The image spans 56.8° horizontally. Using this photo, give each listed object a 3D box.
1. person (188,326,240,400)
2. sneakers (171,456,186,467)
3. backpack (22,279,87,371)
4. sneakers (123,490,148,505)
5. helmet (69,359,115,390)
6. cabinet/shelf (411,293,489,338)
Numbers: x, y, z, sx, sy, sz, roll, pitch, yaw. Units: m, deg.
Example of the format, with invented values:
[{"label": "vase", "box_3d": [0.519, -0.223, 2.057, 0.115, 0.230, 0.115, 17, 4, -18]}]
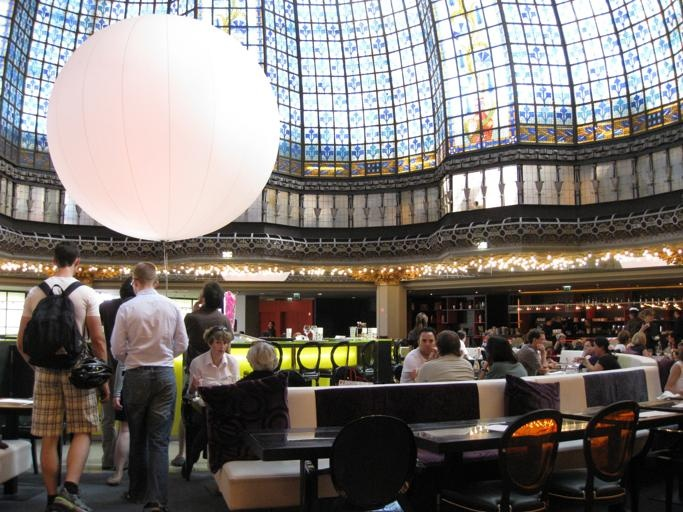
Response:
[{"label": "person", "box_3d": [-1.562, 1.403, 7.764, 0.622, 1.048, 0.599, 3, -7, -19]}, {"label": "sneakers", "box_3d": [-2.143, 2.670, 8.287, 0.158, 0.083, 0.208, 1, 0, -11]}, {"label": "backpack", "box_3d": [-2.851, 0.639, 6.309, 0.504, 0.792, 0.490, -2, -13, 1]}, {"label": "sneakers", "box_3d": [-2.224, 2.571, 6.810, 0.103, 0.109, 0.255, 11, -2, -44]}, {"label": "helmet", "box_3d": [-2.439, 1.169, 6.123, 0.355, 0.286, 0.274, -24, 12, -12]}, {"label": "cabinet/shelf", "box_3d": [4.779, 2.665, 28.493, 3.441, 1.724, 0.487, -4, -1, 31]}]
